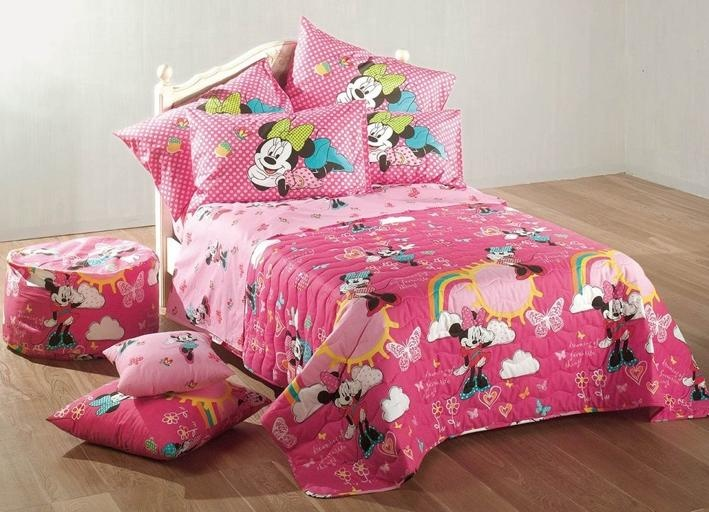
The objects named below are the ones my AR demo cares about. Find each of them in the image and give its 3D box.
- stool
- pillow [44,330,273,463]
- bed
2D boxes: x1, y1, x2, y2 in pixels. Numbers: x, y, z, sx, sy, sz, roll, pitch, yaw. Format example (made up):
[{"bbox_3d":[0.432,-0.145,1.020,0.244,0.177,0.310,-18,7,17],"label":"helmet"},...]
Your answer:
[{"bbox_3d":[-1.468,0.146,3.002,0.649,0.400,0.627,-3,14,-31],"label":"stool"},{"bbox_3d":[-0.756,0.559,2.223,0.491,0.243,0.580,18,25,29],"label":"pillow"},{"bbox_3d":[0.090,-0.164,2.576,1.354,0.796,1.614,-10,24,-23],"label":"bed"}]
